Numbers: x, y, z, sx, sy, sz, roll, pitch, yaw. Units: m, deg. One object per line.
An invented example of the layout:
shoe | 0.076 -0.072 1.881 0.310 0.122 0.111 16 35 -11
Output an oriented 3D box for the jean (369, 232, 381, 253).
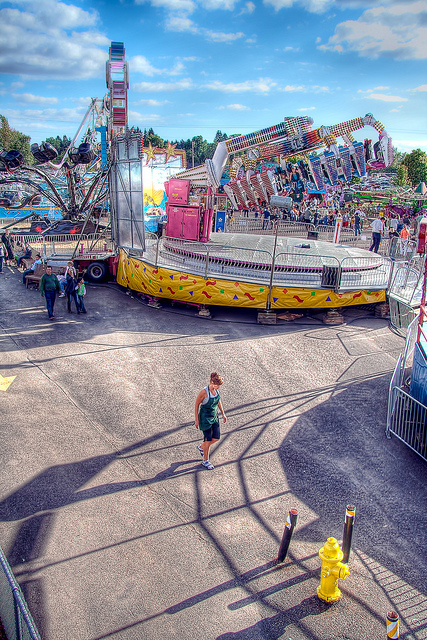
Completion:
jean | 8.458 -4.066 21.788 0.384 1.038 1.190 6 15 19

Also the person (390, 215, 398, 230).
person | 12.201 -6.503 28.187 0.324 0.620 0.917 5 14 18

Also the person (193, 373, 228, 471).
person | -0.080 1.491 6.123 0.362 1.445 0.263 -1 14 -8

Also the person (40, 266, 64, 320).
person | -4.777 -0.815 12.402 0.568 1.653 1.157 -4 15 -20

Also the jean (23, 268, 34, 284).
jean | -7.445 -1.760 16.718 0.571 0.623 0.522 3 0 -28

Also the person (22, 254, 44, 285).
person | -7.271 -2.025 16.689 0.991 1.282 0.875 0 14 -4

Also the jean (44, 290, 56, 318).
jean | -4.870 -0.499 12.510 0.274 0.907 0.716 -5 15 -21

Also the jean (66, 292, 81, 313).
jean | -4.482 -0.611 13.435 0.398 0.696 0.938 -4 15 -18

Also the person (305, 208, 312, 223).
person | 8.067 -8.866 35.529 0.534 1.039 0.867 3 14 11

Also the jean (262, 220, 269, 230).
jean | 4.841 -8.895 38.683 0.511 0.789 1.063 2 14 5

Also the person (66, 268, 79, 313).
person | -4.507 -0.990 13.342 0.336 1.491 1.336 -4 15 -18

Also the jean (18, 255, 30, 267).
jean | -8.588 -2.725 18.978 0.426 0.400 0.115 0 -10 7

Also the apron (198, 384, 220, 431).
apron | -0.044 1.291 6.049 0.354 0.680 0.133 -7 16 -27

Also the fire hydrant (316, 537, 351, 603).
fire hydrant | 1.167 2.440 4.072 0.280 0.678 0.247 5 15 16
